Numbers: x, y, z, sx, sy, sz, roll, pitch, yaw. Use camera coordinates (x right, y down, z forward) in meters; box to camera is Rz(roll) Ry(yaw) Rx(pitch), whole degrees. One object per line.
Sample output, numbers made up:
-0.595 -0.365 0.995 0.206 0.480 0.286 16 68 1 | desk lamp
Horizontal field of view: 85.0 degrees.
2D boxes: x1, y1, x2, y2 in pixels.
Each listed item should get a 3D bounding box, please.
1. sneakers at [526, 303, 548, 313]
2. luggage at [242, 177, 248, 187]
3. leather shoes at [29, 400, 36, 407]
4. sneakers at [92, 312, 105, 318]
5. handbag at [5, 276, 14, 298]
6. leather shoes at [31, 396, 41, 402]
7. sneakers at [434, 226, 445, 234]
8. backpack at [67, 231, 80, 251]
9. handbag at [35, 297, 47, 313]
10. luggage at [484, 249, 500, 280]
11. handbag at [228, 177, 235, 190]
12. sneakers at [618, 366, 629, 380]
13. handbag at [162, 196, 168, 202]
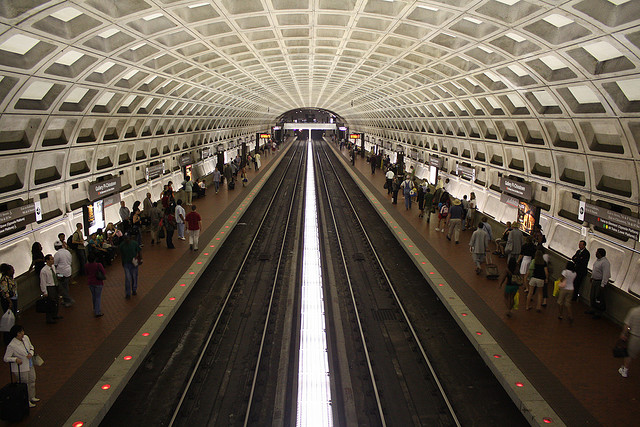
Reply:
7.246 3.181 11.690 0.415 0.192 0.147 13 45 24 | sneakers
-6.220 -2.543 28.778 0.422 0.787 0.730 -1 9 -6 | luggage
-6.708 4.452 8.192 0.133 0.128 0.158 4 -4 -38 | leather shoes
-6.919 3.205 10.967 0.273 0.123 0.133 -9 35 -33 | sneakers
-8.560 2.011 9.654 0.119 0.569 0.293 0 -4 12 | handbag
-6.710 4.413 8.281 0.195 0.071 0.143 -5 -37 -39 | leather shoes
6.290 0.768 18.273 0.217 0.307 0.712 -5 26 0 | sneakers
-9.305 1.080 13.252 0.636 0.806 0.415 1 -2 29 | backpack
-8.295 2.739 10.471 0.339 0.480 0.199 2 -4 -12 | handbag
6.883 2.033 14.031 0.581 0.681 1.772 -1 12 13 | luggage
-7.309 -2.420 28.431 0.675 0.957 2.243 -1 11 -11 | handbag
7.946 4.137 9.173 0.252 0.271 0.237 -3 16 -30 | sneakers
-7.984 -0.749 18.166 0.281 0.344 0.288 1 4 -3 | handbag
